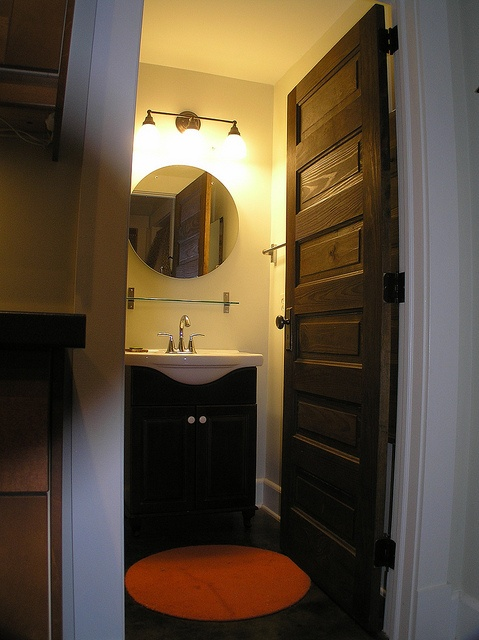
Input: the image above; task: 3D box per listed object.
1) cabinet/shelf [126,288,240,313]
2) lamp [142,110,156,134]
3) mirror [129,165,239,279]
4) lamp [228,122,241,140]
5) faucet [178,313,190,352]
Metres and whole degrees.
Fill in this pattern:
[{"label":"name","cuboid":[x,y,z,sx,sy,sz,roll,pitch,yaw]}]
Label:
[{"label":"cabinet/shelf","cuboid":[-0.303,-0.110,2.778,0.643,0.114,0.092,2,-2,-21]},{"label":"lamp","cuboid":[-0.480,-1.046,2.628,0.083,0.131,0.098,3,13,8]},{"label":"mirror","cuboid":[-0.337,-0.547,2.757,0.472,0.630,0.037,1,-1,-28]},{"label":"lamp","cuboid":[-0.027,-1.046,2.769,0.073,0.112,0.081,2,9,4]},{"label":"faucet","cuboid":[-0.302,0.068,2.675,0.058,0.202,0.247,1,-2,-6]}]
